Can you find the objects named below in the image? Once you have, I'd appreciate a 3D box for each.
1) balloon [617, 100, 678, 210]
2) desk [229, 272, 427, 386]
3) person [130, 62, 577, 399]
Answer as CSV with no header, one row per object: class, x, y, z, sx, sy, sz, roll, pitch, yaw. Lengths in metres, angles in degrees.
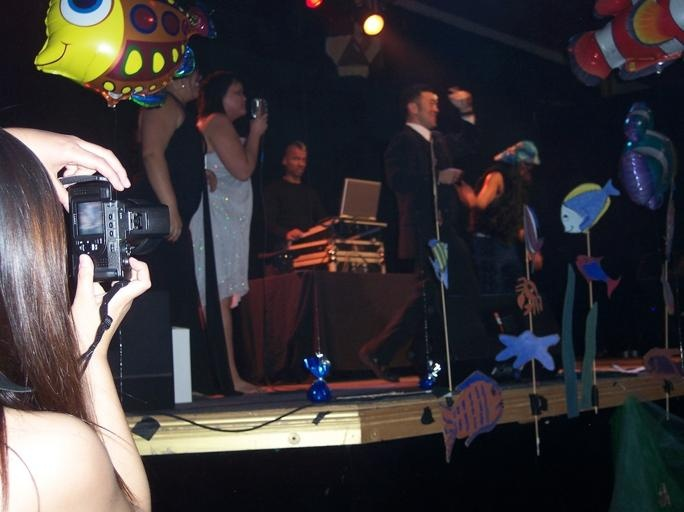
balloon,1.731,-0.571,3.939,0.321,0.580,0.184,2,-6,-30
desk,-0.066,0.371,4.425,0.942,0.544,0.938,2,-4,-43
person,0.120,-0.096,3.878,1.783,1.556,0.545,1,-15,-19
